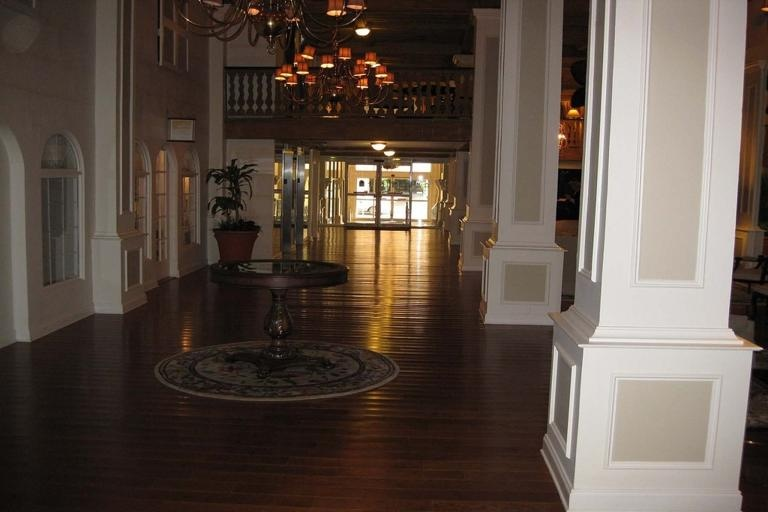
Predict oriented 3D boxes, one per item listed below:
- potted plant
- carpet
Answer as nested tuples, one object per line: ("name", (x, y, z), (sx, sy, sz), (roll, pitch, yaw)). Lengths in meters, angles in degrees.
("potted plant", (-3.049, -0.947, 12.323), (1.009, 2.007, 1.368), (0, 6, -14))
("carpet", (-1.074, 1.116, 6.199), (2.398, 0.192, 1.501), (1, 6, -1))
